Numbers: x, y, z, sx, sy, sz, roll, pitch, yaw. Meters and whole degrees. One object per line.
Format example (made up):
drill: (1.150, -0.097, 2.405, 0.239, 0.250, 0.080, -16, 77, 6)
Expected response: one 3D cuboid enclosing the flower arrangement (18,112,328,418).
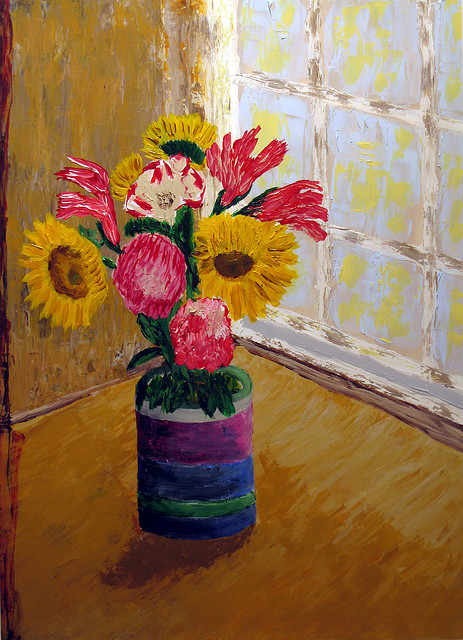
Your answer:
flower arrangement: (-0.083, -0.065, 0.889, 0.402, 0.402, 0.306, -1, 18, 5)
